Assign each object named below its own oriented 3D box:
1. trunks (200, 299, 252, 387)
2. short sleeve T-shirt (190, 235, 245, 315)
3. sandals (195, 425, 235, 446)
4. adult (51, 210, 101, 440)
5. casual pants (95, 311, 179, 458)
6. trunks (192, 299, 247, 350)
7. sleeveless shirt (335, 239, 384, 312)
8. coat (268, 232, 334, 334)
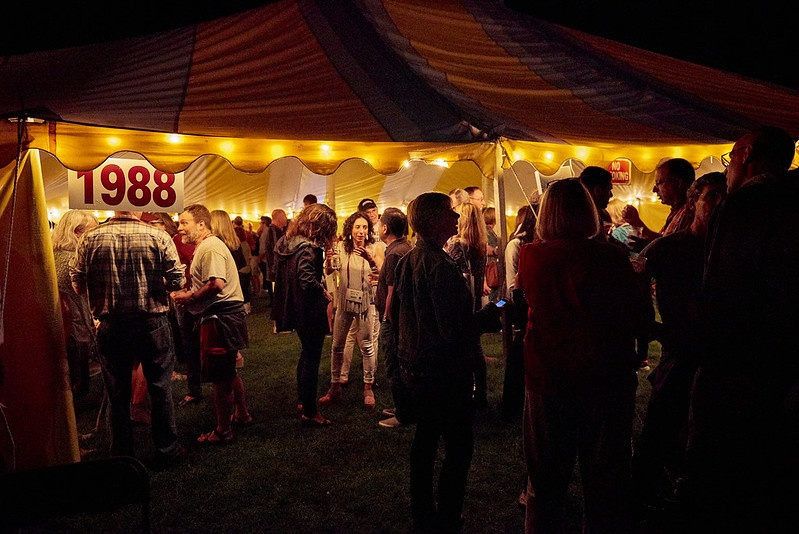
[{"bbox_3d":[-1.821,0.709,6.108,0.530,0.854,0.685,-3,0,-14],"label":"trunks"},{"bbox_3d":[-1.934,0.062,6.233,0.556,0.821,0.910,-2,-2,-13],"label":"short sleeve T-shirt"},{"bbox_3d":[-1.835,1.690,5.942,0.345,0.130,0.156,2,-4,3],"label":"sandals"},{"bbox_3d":[-3.405,0.319,6.212,0.536,2.087,0.512,0,-34,-36],"label":"adult"},{"bbox_3d":[-2.410,1.086,5.538,0.657,1.300,0.416,-4,-4,-17],"label":"casual pants"},{"bbox_3d":[-1.754,0.576,5.877,0.489,0.495,0.519,0,-9,-15],"label":"trunks"},{"bbox_3d":[-0.482,0.098,6.798,0.498,0.762,0.411,4,12,-3],"label":"sleeveless shirt"},{"bbox_3d":[-1.035,0.144,6.247,0.561,0.954,0.824,-1,6,-34],"label":"coat"}]
